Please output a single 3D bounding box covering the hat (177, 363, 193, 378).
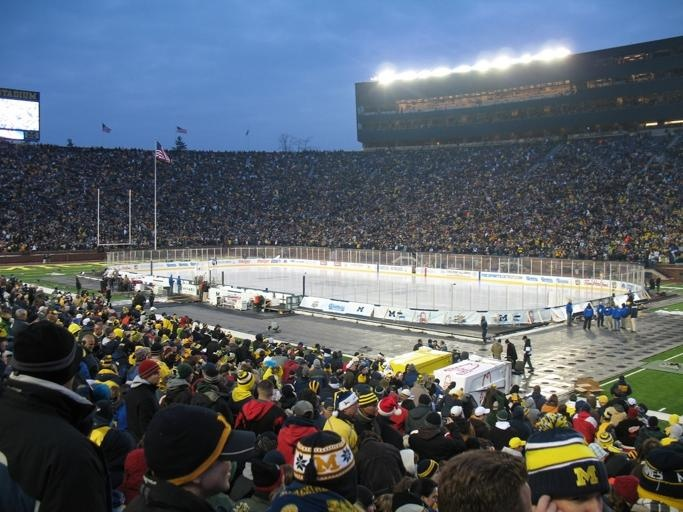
[{"bbox_3d":[-2.280,1.705,9.462,0.191,0.197,0.253,9,10,-8],"label":"hat"}]

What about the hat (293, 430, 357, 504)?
[{"bbox_3d":[-0.090,1.889,5.922,0.634,0.559,0.509,0,1,17],"label":"hat"}]

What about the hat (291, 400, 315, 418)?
[{"bbox_3d":[-0.470,1.944,8.170,0.195,0.168,0.297,6,5,20],"label":"hat"}]

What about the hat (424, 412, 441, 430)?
[{"bbox_3d":[1.172,2.069,8.190,0.191,0.148,0.187,-7,16,-40],"label":"hat"}]

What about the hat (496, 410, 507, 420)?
[{"bbox_3d":[2.528,2.516,10.161,0.140,0.072,0.137,-23,23,-36],"label":"hat"}]

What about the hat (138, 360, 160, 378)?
[{"bbox_3d":[-2.521,1.481,8.495,0.225,0.184,0.211,-10,15,16],"label":"hat"}]

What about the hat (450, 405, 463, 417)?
[{"bbox_3d":[1.682,2.271,9.380,0.131,0.110,0.211,16,31,33],"label":"hat"}]

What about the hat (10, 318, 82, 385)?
[{"bbox_3d":[-2.548,0.794,5.689,0.565,0.501,0.516,3,23,-35],"label":"hat"}]

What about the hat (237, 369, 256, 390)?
[{"bbox_3d":[-1.417,1.833,9.669,0.248,0.267,0.281,2,17,11],"label":"hat"}]

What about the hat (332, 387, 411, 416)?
[{"bbox_3d":[0.288,1.917,8.451,0.755,0.340,0.603,0,-3,9],"label":"hat"}]

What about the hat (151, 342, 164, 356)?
[{"bbox_3d":[-3.116,1.589,11.002,0.165,0.169,0.218,4,16,5],"label":"hat"}]

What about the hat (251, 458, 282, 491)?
[{"bbox_3d":[-0.740,2.168,6.393,0.317,0.229,0.239,-7,27,35],"label":"hat"}]
